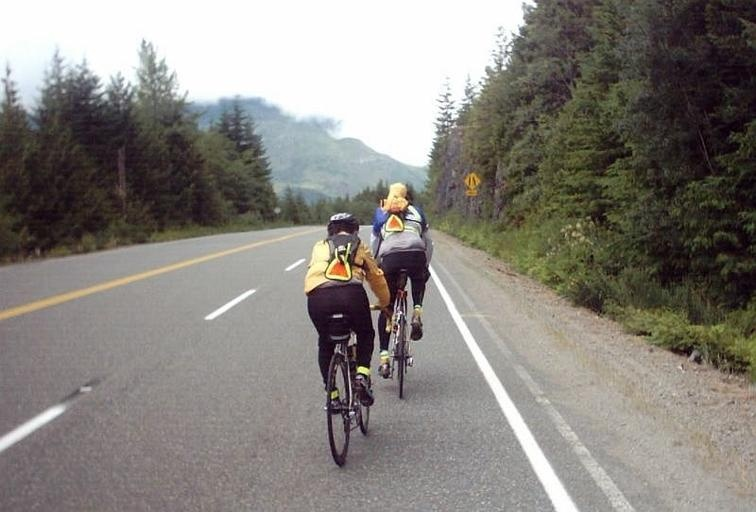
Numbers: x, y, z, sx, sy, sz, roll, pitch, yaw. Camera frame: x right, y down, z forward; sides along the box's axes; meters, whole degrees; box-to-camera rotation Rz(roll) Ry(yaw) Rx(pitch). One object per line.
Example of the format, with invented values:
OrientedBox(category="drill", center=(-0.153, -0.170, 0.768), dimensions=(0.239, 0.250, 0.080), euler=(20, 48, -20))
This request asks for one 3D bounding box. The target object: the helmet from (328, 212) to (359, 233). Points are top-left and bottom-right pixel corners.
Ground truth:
OrientedBox(category="helmet", center=(-0.489, -0.473, 9.773), dimensions=(0.328, 0.395, 0.278), euler=(-11, -7, 33))

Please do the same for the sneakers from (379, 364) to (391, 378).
OrientedBox(category="sneakers", center=(0.126, 1.792, 10.716), dimensions=(0.177, 0.158, 0.347), euler=(0, -8, -3))

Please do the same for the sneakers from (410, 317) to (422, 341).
OrientedBox(category="sneakers", center=(0.666, 1.267, 11.485), dimensions=(0.148, 0.394, 0.177), euler=(2, 31, 4))

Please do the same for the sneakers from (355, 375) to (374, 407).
OrientedBox(category="sneakers", center=(-0.160, 1.941, 9.700), dimensions=(0.163, 0.533, 0.256), euler=(-5, 48, 9))

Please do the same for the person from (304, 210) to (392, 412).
OrientedBox(category="person", center=(-0.438, 0.760, 9.647), dimensions=(1.111, 2.694, 0.793), euler=(-1, 6, -7))

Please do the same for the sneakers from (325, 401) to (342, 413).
OrientedBox(category="sneakers", center=(-0.591, 2.053, 9.314), dimensions=(0.167, 0.105, 0.256), euler=(0, 6, -11))

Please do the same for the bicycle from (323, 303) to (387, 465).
OrientedBox(category="bicycle", center=(-0.364, 1.910, 9.560), dimensions=(0.744, 1.234, 1.856), euler=(-1, 11, 3))
